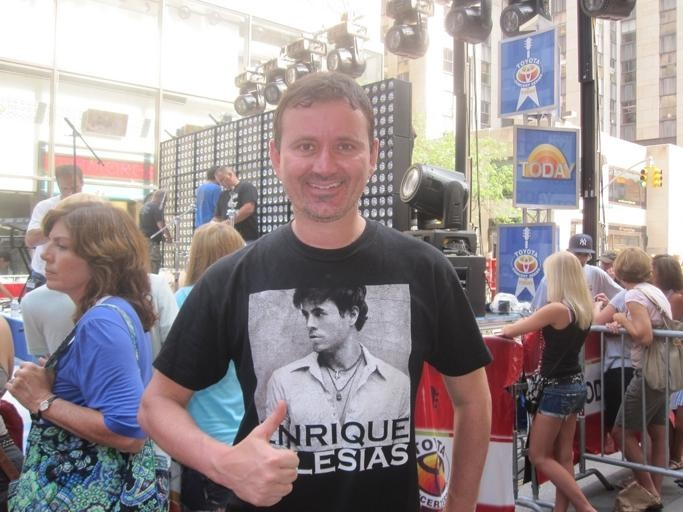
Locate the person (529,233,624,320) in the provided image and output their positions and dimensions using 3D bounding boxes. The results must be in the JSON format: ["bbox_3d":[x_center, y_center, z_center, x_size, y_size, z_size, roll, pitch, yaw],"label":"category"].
[{"bbox_3d":[2.226,0.196,6.426,0.731,0.859,0.466,-2,5,3],"label":"person"}]

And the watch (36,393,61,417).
[{"bbox_3d":[-1.318,0.665,2.987,0.058,0.100,0.094,32,-24,21],"label":"watch"}]

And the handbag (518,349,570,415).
[{"bbox_3d":[1.437,0.942,4.921,0.233,0.367,0.126,19,12,31],"label":"handbag"}]

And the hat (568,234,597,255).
[{"bbox_3d":[2.636,-0.175,7.356,0.251,0.229,0.396,3,4,7],"label":"hat"}]
